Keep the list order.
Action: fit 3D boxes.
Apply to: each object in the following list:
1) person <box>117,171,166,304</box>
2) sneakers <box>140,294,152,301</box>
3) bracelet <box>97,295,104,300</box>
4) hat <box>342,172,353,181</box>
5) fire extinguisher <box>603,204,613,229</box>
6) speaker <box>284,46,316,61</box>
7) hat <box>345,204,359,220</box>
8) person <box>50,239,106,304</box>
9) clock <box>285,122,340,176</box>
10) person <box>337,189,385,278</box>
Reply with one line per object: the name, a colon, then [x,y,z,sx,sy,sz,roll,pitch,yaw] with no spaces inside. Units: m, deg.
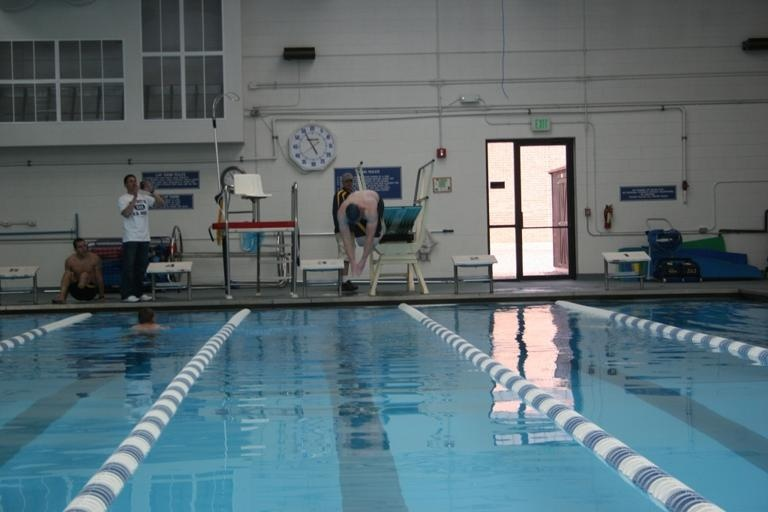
person: [-4.097,-0.293,15.022,0.613,2.045,0.549,-3,5,-26]
sneakers: [-3.997,0.709,15.155,0.104,0.073,0.169,2,-6,-37]
bracelet: [-4.799,0.712,15.272,0.064,0.108,0.108,-2,-6,-7]
hat: [-0.627,-1.348,15.469,0.140,0.117,0.133,-3,10,-9]
fire extinguisher: [4.391,-0.745,17.627,0.193,0.485,0.122,-1,5,1]
speaker: [-1.644,-3.882,17.401,0.653,0.245,0.235,-2,5,-7]
hat: [-0.516,-0.695,14.860,0.213,0.245,0.238,21,13,36]
person: [-5.080,0.277,15.195,0.803,1.191,1.038,1,-6,-13]
clock: [-1.441,-2.088,17.462,0.951,1.079,0.093,0,-1,-6]
person: [-0.390,-0.495,15.038,0.652,1.548,1.013,4,-14,11]
